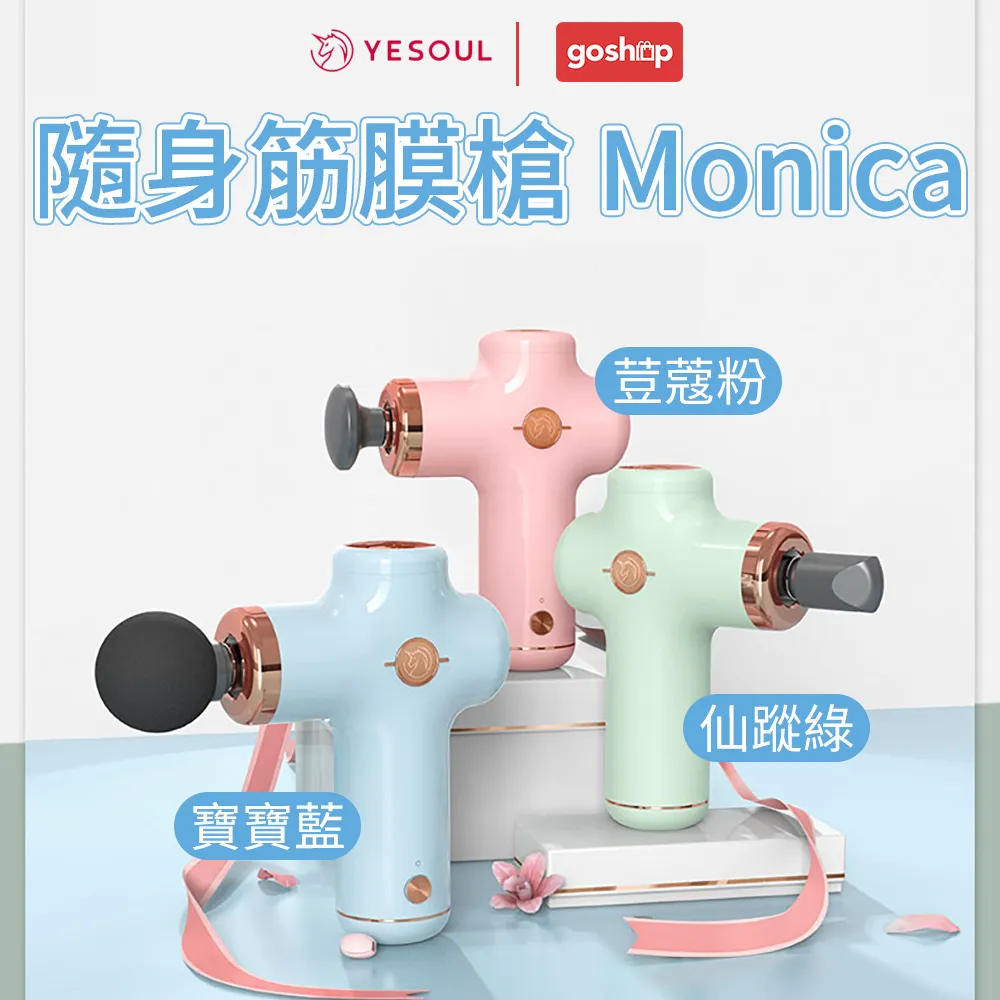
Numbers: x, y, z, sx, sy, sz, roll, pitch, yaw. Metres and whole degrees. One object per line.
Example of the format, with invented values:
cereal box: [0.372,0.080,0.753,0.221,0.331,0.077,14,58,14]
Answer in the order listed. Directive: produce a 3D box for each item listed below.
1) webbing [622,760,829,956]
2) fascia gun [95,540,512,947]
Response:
webbing: [0.250,0.344,1.083,0.166,0.023,0.332,1,20,23]
fascia gun: [-0.171,0.205,0.914,0.366,0.327,0.122,2,-1,-31]
